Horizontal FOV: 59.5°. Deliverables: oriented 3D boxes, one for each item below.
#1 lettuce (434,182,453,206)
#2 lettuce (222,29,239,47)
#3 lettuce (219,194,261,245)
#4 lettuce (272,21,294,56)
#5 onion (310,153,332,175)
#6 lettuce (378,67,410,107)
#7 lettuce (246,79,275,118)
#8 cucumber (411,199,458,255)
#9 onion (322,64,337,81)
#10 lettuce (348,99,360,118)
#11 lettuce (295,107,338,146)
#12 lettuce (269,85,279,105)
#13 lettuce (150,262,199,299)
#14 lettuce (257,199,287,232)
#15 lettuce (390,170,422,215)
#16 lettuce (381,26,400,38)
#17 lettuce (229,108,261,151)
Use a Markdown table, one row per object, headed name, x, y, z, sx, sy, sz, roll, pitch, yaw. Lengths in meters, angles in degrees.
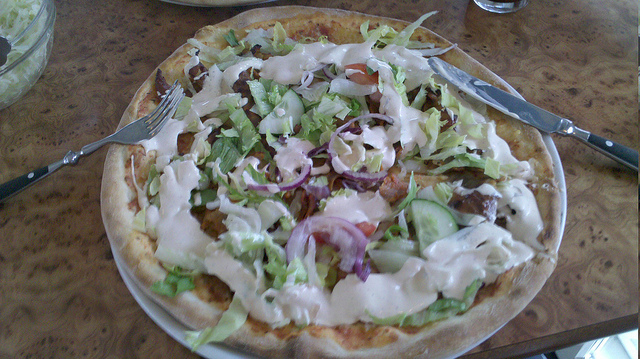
| name | x | y | z | sx | sy | sz | roll | pitch | yaw |
| --- | --- | --- | --- | --- | --- | --- | --- | --- | --- |
| lettuce | 0.736 | 0.083 | 3.316 | 0.119 | 0.087 | 0.048 | 43 | 90 | -5 |
| lettuce | -0.586 | -0.935 | 3.741 | 0.077 | 0.023 | 0.113 | -37 | 85 | -4 |
| lettuce | -0.470 | 0.205 | 3.228 | 0.200 | 0.102 | 0.312 | -30 | 84 | -3 |
| lettuce | -0.259 | -0.912 | 3.711 | 0.142 | 0.058 | 0.232 | -5 | 79 | -22 |
| onion | 0.008 | -0.072 | 3.384 | 0.120 | 0.034 | 0.128 | 0 | 61 | 44 |
| lettuce | 0.464 | -0.584 | 3.595 | 0.212 | 0.078 | 0.221 | -32 | 96 | -11 |
| lettuce | -0.372 | -0.514 | 3.524 | 0.132 | 0.070 | 0.271 | -22 | 88 | -21 |
| cucumber | 0.672 | 0.248 | 3.253 | 0.243 | 0.059 | 0.300 | -11 | 83 | -1 |
| onion | 0.058 | -0.676 | 3.580 | 0.059 | 0.031 | 0.108 | -40 | 85 | -4 |
| lettuce | 0.216 | -0.438 | 3.504 | 0.092 | 0.032 | 0.101 | 1 | 78 | 4 |
| lettuce | -0.022 | -0.316 | 3.441 | 0.219 | 0.104 | 0.229 | -15 | 78 | 3 |
| lettuce | -0.286 | -0.526 | 3.514 | 0.062 | 0.025 | 0.097 | -25 | 42 | 10 |
| lettuce | -0.826 | 0.588 | 3.193 | 0.077 | 0.196 | 0.198 | -48 | 66 | 34 |
| lettuce | -0.303 | 0.198 | 3.260 | 0.194 | 0.047 | 0.141 | -41 | 85 | -5 |
| lettuce | 0.516 | 0.074 | 3.317 | 0.142 | 0.117 | 0.239 | 1 | 84 | -10 |
| lettuce | 0.458 | -0.970 | 3.690 | 0.079 | 0.034 | 0.090 | 0 | 103 | -3 |
| lettuce | -0.461 | -0.314 | 3.514 | 0.154 | 0.071 | 0.240 | -34 | 80 | 11 |
